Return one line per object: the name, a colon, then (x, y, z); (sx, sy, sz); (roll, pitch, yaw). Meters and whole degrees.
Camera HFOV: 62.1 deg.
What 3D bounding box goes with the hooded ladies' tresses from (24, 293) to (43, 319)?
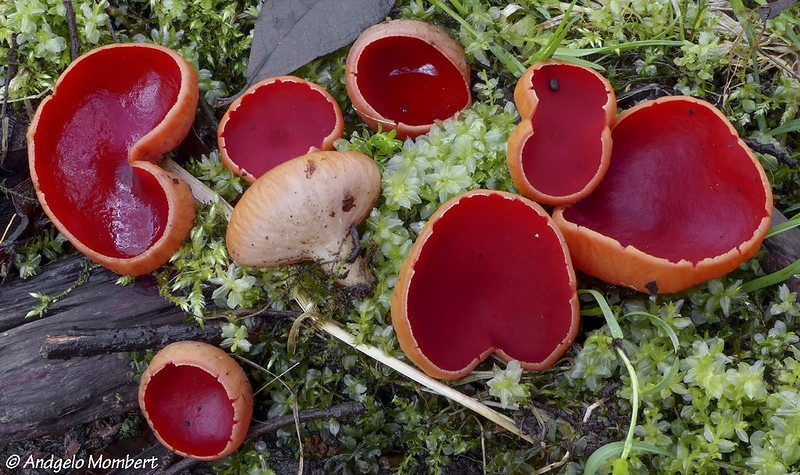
hooded ladies' tresses: (-2.002, 0.382, 3.643); (0.071, 0.154, 0.061); (1, -8, 0)
